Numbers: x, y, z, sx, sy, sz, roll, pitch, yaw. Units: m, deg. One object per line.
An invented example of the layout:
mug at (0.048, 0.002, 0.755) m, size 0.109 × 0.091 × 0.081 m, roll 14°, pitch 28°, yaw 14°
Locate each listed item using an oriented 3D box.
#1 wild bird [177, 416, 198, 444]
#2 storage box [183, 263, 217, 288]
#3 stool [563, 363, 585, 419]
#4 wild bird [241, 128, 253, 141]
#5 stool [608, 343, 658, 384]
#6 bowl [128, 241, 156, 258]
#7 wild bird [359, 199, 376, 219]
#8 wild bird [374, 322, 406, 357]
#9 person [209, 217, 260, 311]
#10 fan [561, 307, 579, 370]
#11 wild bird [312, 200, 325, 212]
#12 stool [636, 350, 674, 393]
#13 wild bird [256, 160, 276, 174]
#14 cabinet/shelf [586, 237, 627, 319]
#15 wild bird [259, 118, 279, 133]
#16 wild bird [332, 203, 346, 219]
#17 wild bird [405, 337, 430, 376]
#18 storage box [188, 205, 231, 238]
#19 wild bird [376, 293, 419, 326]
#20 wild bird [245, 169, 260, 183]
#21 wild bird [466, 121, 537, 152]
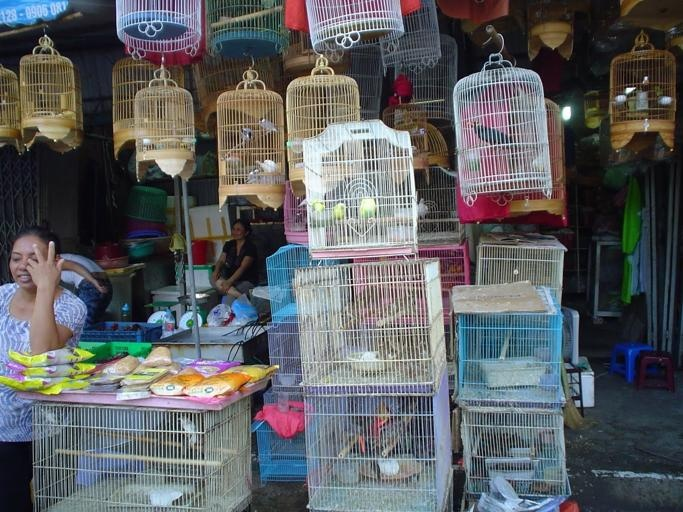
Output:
wild bird at (-0.736, 0.823, 3.098) m, size 0.071 × 0.139 × 0.032 m, roll -12°, pitch -7°, yaw 17°
storage box at (-1.417, 0.194, 6.443) m, size 0.223 × 0.232 × 0.166 m, roll 0°, pitch 17°, yaw 2°
stool at (1.886, 1.073, 5.259) m, size 0.146 × 0.419 × 0.352 m, roll 0°, pitch 1°, yaw 21°
wild bird at (-0.662, -0.840, 4.466) m, size 0.067 × 0.088 × 0.061 m, roll -1°, pitch 1°, yaw -2°
stool at (2.724, 0.951, 6.116) m, size 0.324 × 0.320 × 0.334 m, roll -5°, pitch 13°, yaw -17°
bowl at (-2.197, -0.086, 7.088) m, size 0.188 × 0.084 × 0.173 m, roll -9°, pitch 9°, yaw 1°
wild bird at (0.140, -0.259, 3.559) m, size 0.092 × 0.115 × 0.093 m, roll -8°, pitch 0°, yaw 3°
wild bird at (0.266, 0.441, 3.535) m, size 0.139 × 0.204 × 0.157 m, roll -1°, pitch 1°, yaw 5°
person at (-1.142, 0.039, 6.727) m, size 0.477 × 0.864 × 0.466 m, roll -1°, pitch 1°, yaw 2°
fan at (1.768, 0.631, 5.006) m, size 0.116 × 0.481 × 0.532 m, roll 0°, pitch 1°, yaw 19°
wild bird at (-0.134, -0.275, 3.551) m, size 0.055 × 0.059 × 0.019 m, roll -6°, pitch 3°, yaw -7°
stool at (2.822, 1.024, 5.852) m, size 0.331 × 0.319 × 0.346 m, roll -1°, pitch 8°, yaw 14°
wild bird at (-0.507, -0.604, 4.412) m, size 0.123 × 0.098 × 0.222 m, roll -1°, pitch 1°, yaw -13°
cabinet/shelf at (2.981, 0.258, 7.319) m, size 0.375 × 0.981 × 0.311 m, roll 0°, pitch 1°, yaw 29°
wild bird at (-0.504, -0.880, 4.398) m, size 0.089 × 0.049 × 0.119 m, roll 6°, pitch -5°, yaw -2°
wild bird at (-0.016, -0.242, 3.526) m, size 0.070 × 0.095 × 0.037 m, roll -1°, pitch 1°, yaw -1°
wild bird at (0.411, 0.528, 3.475) m, size 0.112 × 0.195 × 0.201 m, roll -1°, pitch 1°, yaw 6°
storage box at (-1.502, -0.401, 7.373) m, size 0.416 × 0.435 × 0.238 m, roll 0°, pitch 10°, yaw 5°
wild bird at (0.301, 0.290, 3.473) m, size 0.228 × 0.180 × 0.128 m, roll -1°, pitch 1°, yaw 14°
wild bird at (-0.591, -0.521, 4.302) m, size 0.081 × 0.082 × 0.084 m, roll -1°, pitch 1°, yaw -8°
wild bird at (0.946, -0.705, 3.824) m, size 0.305 × 0.130 × 0.096 m, roll 20°, pitch 30°, yaw 29°
